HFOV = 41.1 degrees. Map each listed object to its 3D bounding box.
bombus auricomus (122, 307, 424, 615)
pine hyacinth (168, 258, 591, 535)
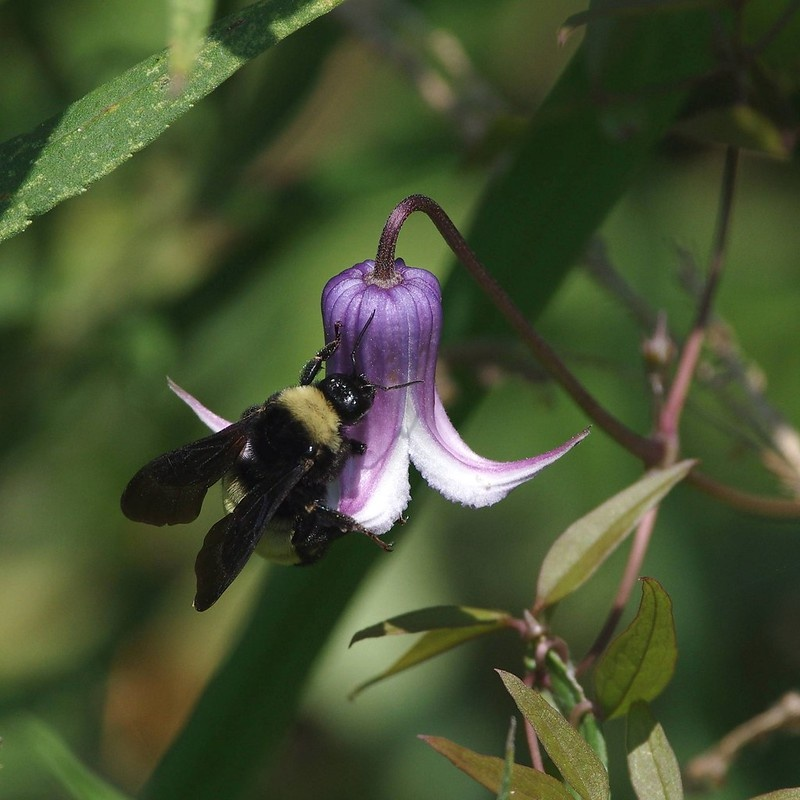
[{"bbox_3d":[-0.157,0.068,1.200,0.201,0.311,0.465,13,-8,-27],"label":"bombus auricomus"},{"bbox_3d":[-0.029,-0.011,1.211,0.298,0.404,0.432,1,15,-3],"label":"pine hyacinth"}]
